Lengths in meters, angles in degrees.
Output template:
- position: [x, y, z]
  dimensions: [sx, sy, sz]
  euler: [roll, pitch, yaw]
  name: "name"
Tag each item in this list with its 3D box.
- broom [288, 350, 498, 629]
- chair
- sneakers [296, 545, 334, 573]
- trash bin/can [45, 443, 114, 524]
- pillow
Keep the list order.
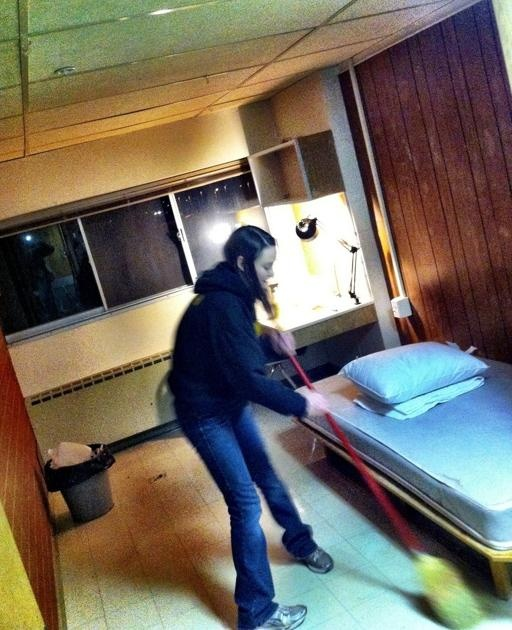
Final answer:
- position: [0.447, 0.724, 2.451]
  dimensions: [0.247, 1.451, 0.174]
  euler: [11, -59, -44]
  name: "broom"
- position: [0.092, 0.229, 2.924]
  dimensions: [0.289, 0.313, 0.271]
  euler: [-13, 9, -15]
  name: "chair"
- position: [0.271, 1.132, 2.452]
  dimensions: [0.072, 0.059, 0.165]
  euler: [-5, -5, -38]
  name: "sneakers"
- position: [-1.163, 1.106, 3.581]
  dimensions: [0.435, 0.527, 0.255]
  euler: [-22, 9, -19]
  name: "trash bin/can"
- position: [0.746, 0.210, 2.766]
  dimensions: [0.508, 0.134, 0.370]
  euler: [-13, 11, -23]
  name: "pillow"
